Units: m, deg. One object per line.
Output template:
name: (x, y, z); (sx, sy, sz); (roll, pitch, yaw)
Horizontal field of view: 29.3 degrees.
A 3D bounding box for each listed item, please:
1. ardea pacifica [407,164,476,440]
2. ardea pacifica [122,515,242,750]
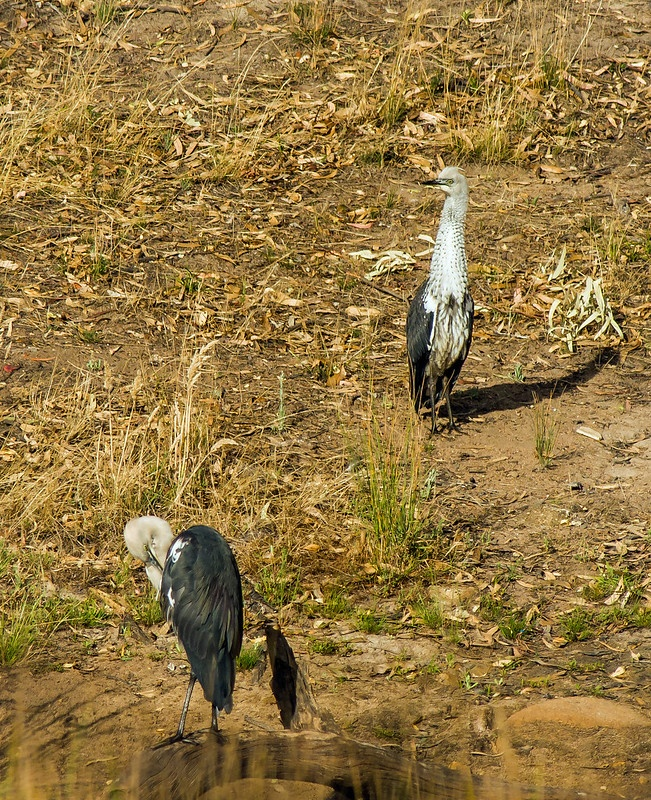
ardea pacifica: (0.691, -0.695, 7.959); (0.415, 1.548, 0.275); (5, 12, 43)
ardea pacifica: (-0.556, 1.010, 5.276); (0.463, 0.990, 0.687); (-5, 9, -15)
